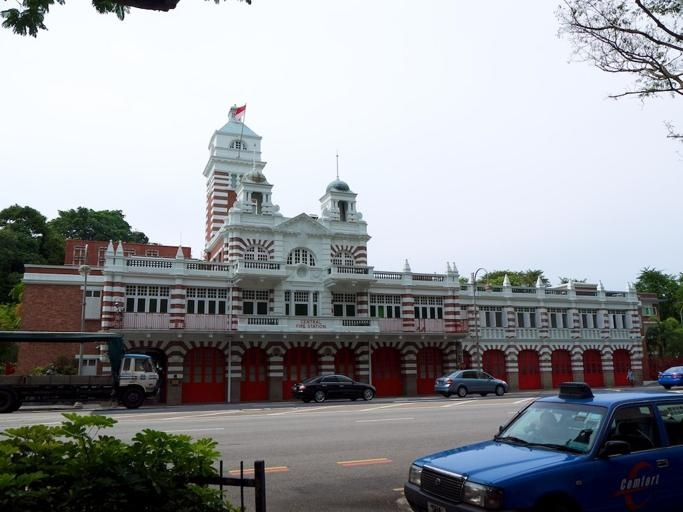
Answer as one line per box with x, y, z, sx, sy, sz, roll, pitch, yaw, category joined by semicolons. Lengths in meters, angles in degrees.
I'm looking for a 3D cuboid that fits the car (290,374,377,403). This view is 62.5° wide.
-0.265;7.470;31.578;4.544;1.117;1.668;1;-12;-18;car

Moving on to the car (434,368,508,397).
7.708;7.539;33.506;4.320;1.165;1.722;0;-9;-13;car
